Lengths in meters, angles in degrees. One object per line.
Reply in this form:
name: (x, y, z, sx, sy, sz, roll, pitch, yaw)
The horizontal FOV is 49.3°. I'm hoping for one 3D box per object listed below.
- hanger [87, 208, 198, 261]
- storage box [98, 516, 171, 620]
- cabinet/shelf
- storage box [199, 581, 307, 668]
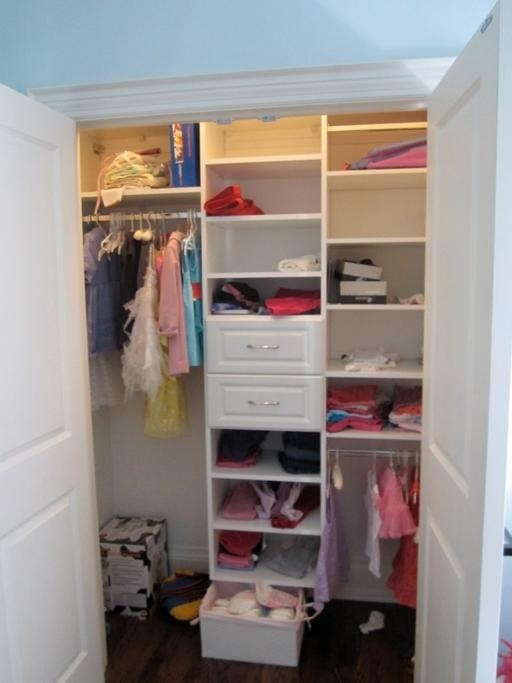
hanger: (-0.514, -0.472, 2.475, 0.536, 0.235, 0.508, -2, 6, -5)
storage box: (-0.616, 1.050, 2.693, 0.333, 0.394, 0.371, 2, -1, 9)
cabinet/shelf: (0.034, -0.041, 2.313, 1.875, 2.101, 0.581, 0, 1, 1)
storage box: (-0.002, 1.137, 2.347, 0.417, 0.261, 0.322, 0, 6, 10)
